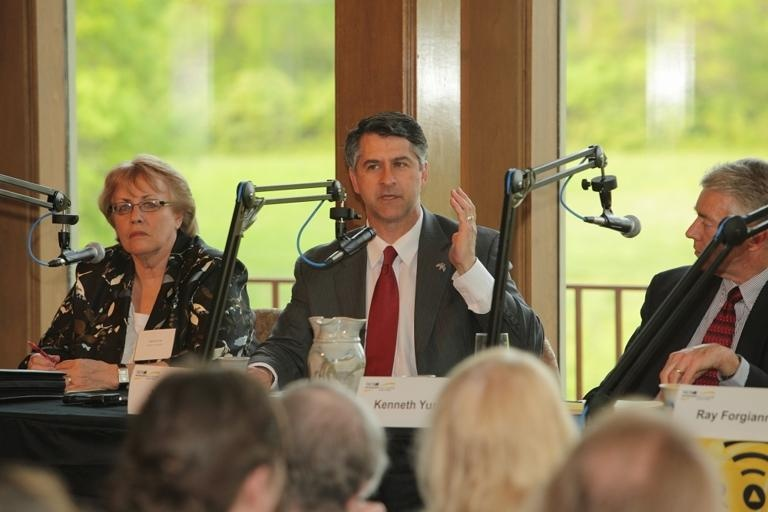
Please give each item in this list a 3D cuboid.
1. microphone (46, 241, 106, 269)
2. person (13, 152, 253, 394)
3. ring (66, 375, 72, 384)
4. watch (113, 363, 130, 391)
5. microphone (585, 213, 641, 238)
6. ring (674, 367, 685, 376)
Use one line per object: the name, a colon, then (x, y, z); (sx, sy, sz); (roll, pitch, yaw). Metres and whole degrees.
microphone: (-1.331, -0.002, 4.816); (0.104, 0.118, 0.315); (6, 1, 32)
person: (-1.162, 0.084, 5.218); (1.244, 1.013, 1.069); (-4, 6, -45)
ring: (-1.345, 0.524, 4.633); (0.025, 0.032, 0.033); (1, -9, 3)
watch: (-1.105, 0.506, 4.613); (0.077, 0.103, 0.114); (3, -10, -10)
microphone: (0.915, -0.128, 4.342); (0.132, 0.094, 0.317); (0, -5, 42)
ring: (1.121, 0.442, 4.191); (0.030, 0.022, 0.035); (1, 4, 17)
